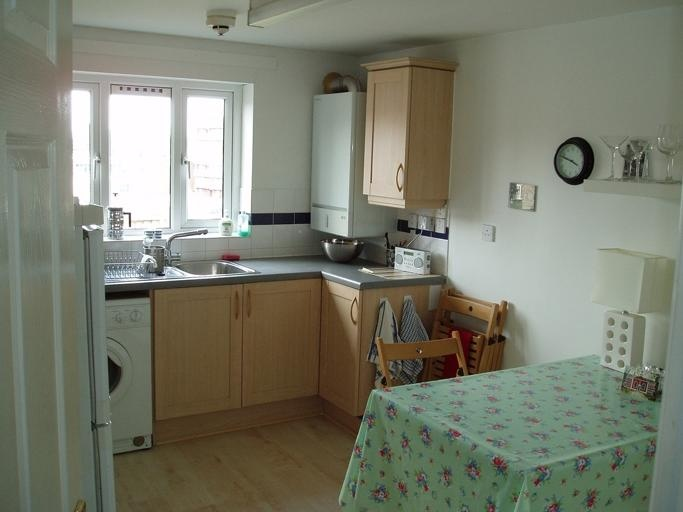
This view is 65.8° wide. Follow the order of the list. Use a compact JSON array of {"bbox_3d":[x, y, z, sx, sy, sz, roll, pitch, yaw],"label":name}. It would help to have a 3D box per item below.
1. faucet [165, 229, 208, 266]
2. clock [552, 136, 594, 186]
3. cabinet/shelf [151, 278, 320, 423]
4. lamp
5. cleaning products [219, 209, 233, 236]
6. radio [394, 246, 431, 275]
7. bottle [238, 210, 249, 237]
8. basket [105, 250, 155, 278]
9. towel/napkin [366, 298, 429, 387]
[{"bbox_3d":[-1.253,-0.100,4.218,0.309,0.307,0.556,-1,15,-18],"label":"faucet"},{"bbox_3d":[1.374,-0.564,3.159,0.083,0.281,0.269,-3,15,-24],"label":"clock"},{"bbox_3d":[-0.823,0.667,3.863,0.985,0.808,0.388,-2,5,-28],"label":"cabinet/shelf"},{"bbox_3d":[1.512,0.293,2.772,0.352,0.629,0.260,0,14,-13],"label":"lamp"},{"bbox_3d":[-1.000,-0.288,4.573,0.112,0.190,0.204,0,14,-12],"label":"cleaning products"},{"bbox_3d":[0.555,0.037,4.144,0.290,0.193,0.196,6,14,9],"label":"radio"},{"bbox_3d":[-0.851,-0.276,4.570,0.077,0.199,0.158,-4,15,-27],"label":"bottle"},{"bbox_3d":[-1.566,0.084,3.879,0.270,0.079,0.279,-3,15,-26],"label":"basket"},{"bbox_3d":[0.357,0.601,3.610,0.573,0.819,0.125,1,-6,-21],"label":"towel/napkin"}]
